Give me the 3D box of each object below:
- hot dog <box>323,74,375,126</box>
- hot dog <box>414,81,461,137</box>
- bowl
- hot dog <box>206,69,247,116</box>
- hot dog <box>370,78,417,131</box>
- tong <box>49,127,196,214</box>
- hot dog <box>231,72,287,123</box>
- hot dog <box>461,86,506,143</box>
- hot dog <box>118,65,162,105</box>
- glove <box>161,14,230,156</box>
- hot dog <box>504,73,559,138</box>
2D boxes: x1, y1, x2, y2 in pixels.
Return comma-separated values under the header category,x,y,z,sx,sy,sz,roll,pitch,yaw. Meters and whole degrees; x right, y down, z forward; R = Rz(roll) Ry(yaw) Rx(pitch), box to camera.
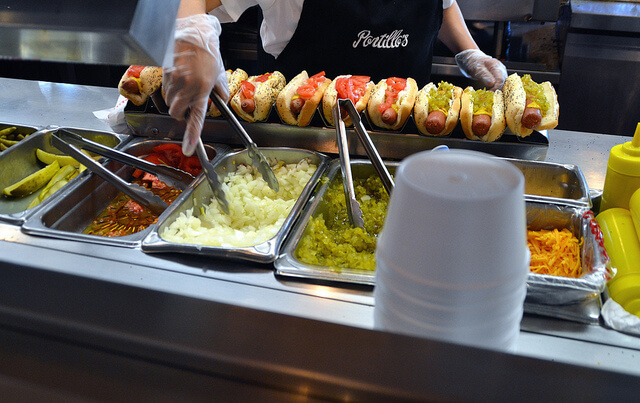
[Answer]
category,x,y,z,sx,sy,sz,roll,pitch,yaw
hot dog,0.132,-0.522,2.267,0.176,0.101,0.320,2,43,11
hot dog,0.554,-0.434,2.183,0.163,0.121,0.308,4,40,7
bowl,0.383,0.066,1.487,0.518,0.548,0.500,-1,27,0
hot dog,-0.477,-0.576,2.420,0.157,0.286,0.092,13,-16,1
hot dog,0.361,-0.505,2.277,0.168,0.112,0.304,7,46,19
tong,-0.920,-0.193,2.233,0.251,0.135,0.737,19,0,32
hot dog,-0.310,-0.557,2.437,0.203,0.150,0.373,0,32,18
hot dog,0.753,-0.397,2.152,0.147,0.110,0.301,3,43,12
hot dog,-1.010,-0.670,2.492,0.205,0.144,0.390,11,25,-32
glove,-0.555,-0.510,1.988,0.233,0.505,0.451,4,27,3
hot dog,0.992,-0.467,2.213,0.228,0.139,0.413,16,41,7
